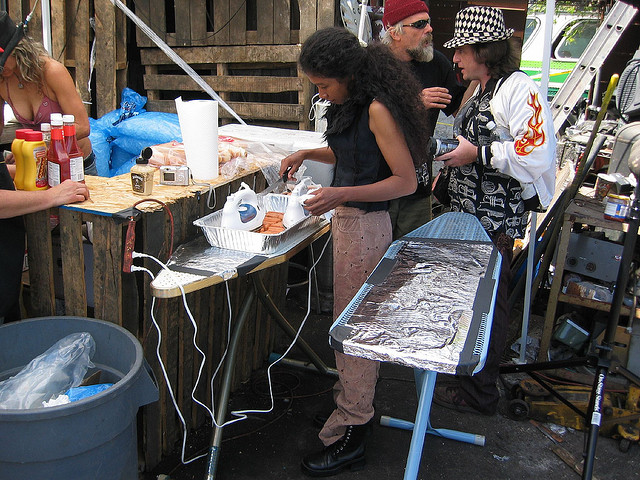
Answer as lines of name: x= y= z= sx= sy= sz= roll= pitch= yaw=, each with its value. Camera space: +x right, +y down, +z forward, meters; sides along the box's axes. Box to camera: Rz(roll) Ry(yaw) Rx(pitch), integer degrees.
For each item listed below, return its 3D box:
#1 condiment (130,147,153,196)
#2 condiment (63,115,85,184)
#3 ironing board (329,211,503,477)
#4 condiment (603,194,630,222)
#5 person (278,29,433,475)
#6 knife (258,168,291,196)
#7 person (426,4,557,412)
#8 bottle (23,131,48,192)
condiment: x=-0.864 y=-0.346 z=2.562 sx=0.094 sy=0.242 sz=0.073 roll=11 pitch=22 yaw=8
condiment: x=-1.176 y=-0.430 z=2.514 sx=0.097 sy=0.340 sz=0.104 roll=13 pitch=23 yaw=25
ironing board: x=0.474 y=0.193 z=2.286 sx=0.559 sy=0.223 sz=1.120 roll=8 pitch=19 yaw=20
condiment: x=1.879 y=-0.219 z=3.391 sx=0.152 sy=0.192 sz=0.162 roll=5 pitch=14 yaw=14
person: x=0.147 y=0.148 z=2.568 sx=0.560 sy=2.220 sz=0.873 roll=8 pitch=17 yaw=23
knife: x=-0.270 y=-0.350 z=3.141 sx=0.047 sy=0.019 sz=0.370 roll=45 pitch=44 yaw=-2
person: x=0.887 y=-0.072 z=2.962 sx=0.665 sy=2.334 sz=0.734 roll=11 pitch=18 yaw=30
bottle: x=-1.318 y=-0.371 z=2.445 sx=0.121 sy=0.264 sz=0.058 roll=-9 pitch=19 yaw=-31
